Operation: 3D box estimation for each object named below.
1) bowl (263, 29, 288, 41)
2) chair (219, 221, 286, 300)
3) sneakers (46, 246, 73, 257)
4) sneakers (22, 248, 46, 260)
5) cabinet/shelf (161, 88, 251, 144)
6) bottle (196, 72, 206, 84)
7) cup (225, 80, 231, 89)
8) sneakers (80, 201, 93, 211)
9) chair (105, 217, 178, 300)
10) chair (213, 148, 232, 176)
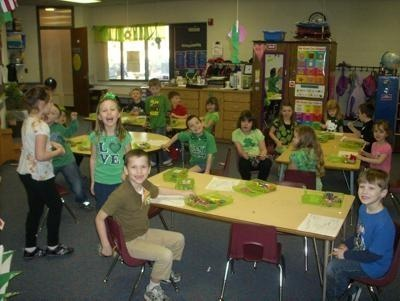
[{"bbox_3d":[1.712,-2.646,7.793,0.433,0.276,0.536,4,14,17],"label":"bowl"},{"bbox_3d":[0.474,0.938,3.064,0.574,0.868,0.583,3,14,14],"label":"chair"},{"bbox_3d":[-1.570,1.106,3.796,0.263,0.113,0.117,-1,13,-17],"label":"sneakers"},{"bbox_3d":[-1.804,1.103,3.694,0.222,0.095,0.094,-4,17,-25],"label":"sneakers"},{"bbox_3d":[0.180,-0.719,6.780,1.398,0.781,0.378,4,8,21],"label":"cabinet/shelf"},{"bbox_3d":[0.019,-1.901,8.790,0.222,0.147,0.399,-1,27,-14],"label":"bottle"},{"bbox_3d":[0.682,-1.654,8.439,0.154,0.178,0.155,-1,7,0],"label":"cup"},{"bbox_3d":[-1.555,0.777,4.800,0.230,0.079,0.155,8,1,-4],"label":"sneakers"},{"bbox_3d":[-0.540,1.008,3.072,0.620,0.817,0.529,-11,22,-31],"label":"chair"},{"bbox_3d":[0.370,0.193,5.736,0.339,0.574,0.325,7,17,17],"label":"chair"}]
